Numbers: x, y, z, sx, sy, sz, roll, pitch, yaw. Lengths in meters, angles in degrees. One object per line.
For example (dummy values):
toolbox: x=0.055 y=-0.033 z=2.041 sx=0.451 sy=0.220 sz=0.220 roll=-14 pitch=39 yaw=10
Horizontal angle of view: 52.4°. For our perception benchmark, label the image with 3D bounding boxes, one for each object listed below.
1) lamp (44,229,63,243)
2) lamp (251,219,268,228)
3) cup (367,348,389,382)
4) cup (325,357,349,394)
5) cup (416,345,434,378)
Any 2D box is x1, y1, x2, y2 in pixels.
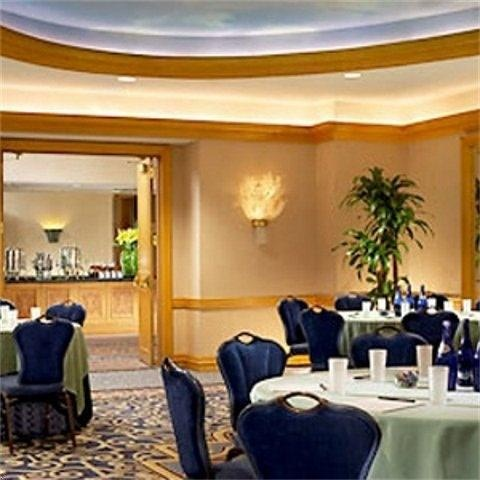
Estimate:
lamp: x=-5.263 y=-0.151 z=13.746 sx=0.424 sy=0.354 sz=0.388 roll=0 pitch=4 yaw=-8
lamp: x=0.289 y=-0.228 z=6.874 sx=0.242 sy=0.118 sz=0.143 roll=0 pitch=-4 yaw=-6
cup: x=0.661 y=0.606 z=2.350 sx=0.101 sy=0.159 sz=0.102 roll=1 pitch=-18 yaw=0
cup: x=0.443 y=0.584 z=2.082 sx=0.090 sy=0.143 sz=0.093 roll=6 pitch=-18 yaw=2
cup: x=0.884 y=0.579 z=2.336 sx=0.125 sy=0.148 sz=0.127 roll=0 pitch=-8 yaw=0
